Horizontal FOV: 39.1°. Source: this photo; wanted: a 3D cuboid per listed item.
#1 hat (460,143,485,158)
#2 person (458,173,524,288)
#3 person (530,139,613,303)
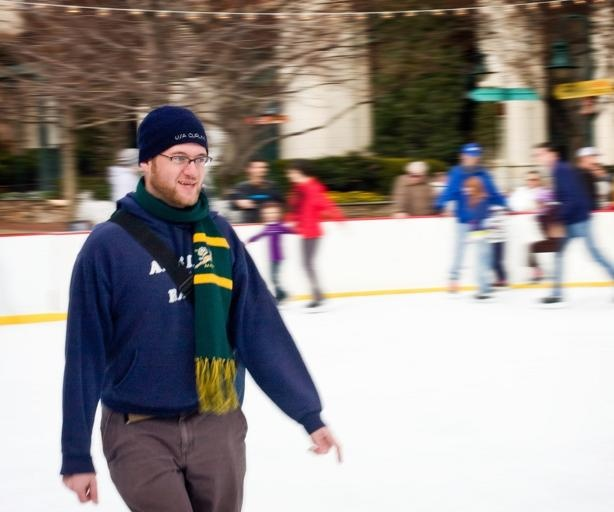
[{"bbox_3d":[1.752,-1.066,8.851,0.313,0.156,0.289,2,5,-3],"label":"hat"},{"bbox_3d":[1.882,-0.218,9.047,0.507,1.271,0.286,-12,15,-43],"label":"person"},{"bbox_3d":[2.619,-0.279,8.370,0.682,1.522,0.667,-1,11,6],"label":"person"}]
